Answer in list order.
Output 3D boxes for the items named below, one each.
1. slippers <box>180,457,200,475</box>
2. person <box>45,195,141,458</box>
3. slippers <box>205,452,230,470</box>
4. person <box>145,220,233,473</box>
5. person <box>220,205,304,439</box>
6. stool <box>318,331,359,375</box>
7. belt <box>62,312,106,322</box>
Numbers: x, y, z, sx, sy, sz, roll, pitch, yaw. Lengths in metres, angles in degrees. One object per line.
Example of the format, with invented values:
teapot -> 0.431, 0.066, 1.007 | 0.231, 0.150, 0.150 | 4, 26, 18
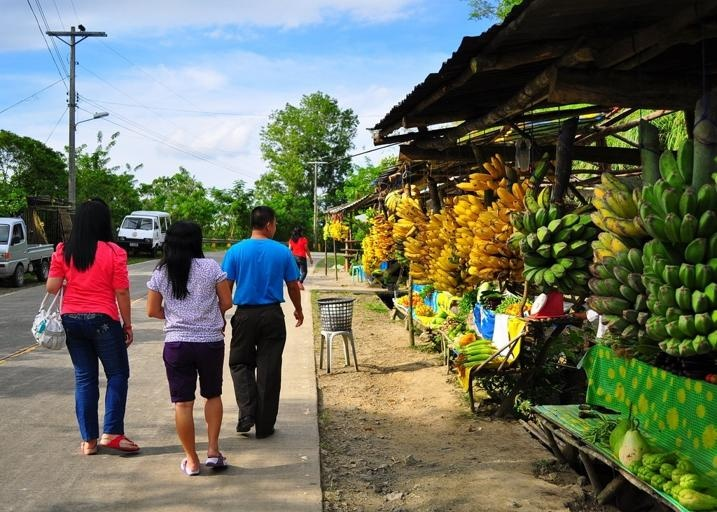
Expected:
slippers -> -1.504, 1.865, 5.087 | 0.093, 0.089, 0.236 | 2, 4, -22
person -> -2.473, 0.662, 5.330 | 0.727, 2.371, 0.519 | -2, 5, -31
slippers -> -1.267, 1.840, 5.156 | 0.102, 0.106, 0.237 | 0, -4, 12
person -> -1.535, 0.813, 5.197 | 0.734, 2.160, 0.703 | -1, -2, -24
person -> -1.045, 0.659, 6.020 | 0.924, 2.317, 0.777 | 0, -4, 6
stool -> -0.370, 1.524, 9.368 | 0.691, 0.650, 0.680 | -2, 1, -6
belt -> -2.483, 0.546, 5.169 | 0.383, 0.075, 0.063 | 1, 4, 3
